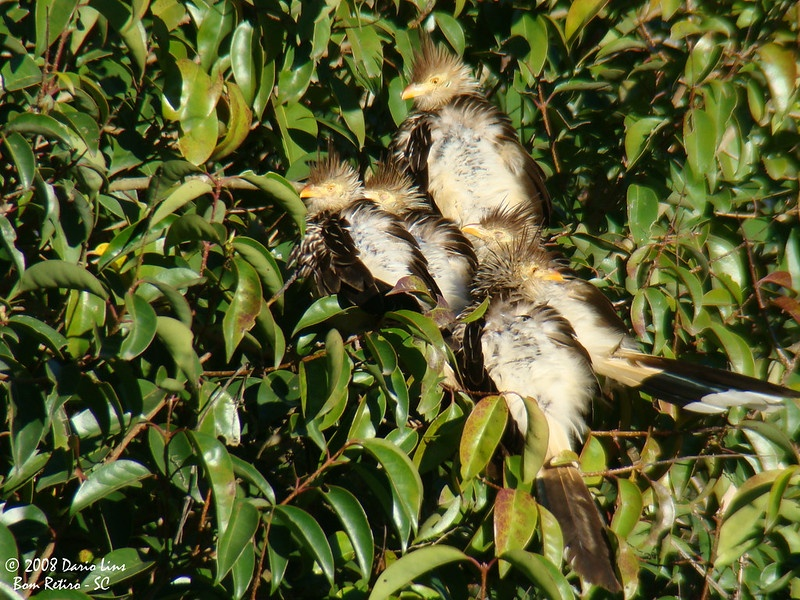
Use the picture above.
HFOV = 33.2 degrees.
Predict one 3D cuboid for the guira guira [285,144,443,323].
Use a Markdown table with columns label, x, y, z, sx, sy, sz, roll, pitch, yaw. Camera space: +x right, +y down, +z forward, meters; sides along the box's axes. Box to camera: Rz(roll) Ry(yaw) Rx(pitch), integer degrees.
| label | x | y | z | sx | sy | sz | roll | pitch | yaw |
| --- | --- | --- | --- | --- | --- | --- | --- | --- | --- |
| guira guira | -0.046 | -0.184 | 4.496 | 0.594 | 0.450 | 0.458 | 17 | 34 | 17 |

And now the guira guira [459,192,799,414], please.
| label | x | y | z | sx | sy | sz | roll | pitch | yaw |
| --- | --- | --- | --- | --- | --- | --- | --- | --- | --- |
| guira guira | 0.757 | 0.035 | 4.250 | 0.831 | 0.483 | 0.213 | 29 | 30 | 22 |

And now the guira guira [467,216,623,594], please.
| label | x | y | z | sx | sy | sz | roll | pitch | yaw |
| --- | --- | --- | --- | --- | --- | --- | --- | --- | --- |
| guira guira | 0.568 | 0.291 | 4.225 | 0.296 | 0.569 | 1.052 | -19 | 56 | 2 |

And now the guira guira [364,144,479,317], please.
| label | x | y | z | sx | sy | sz | roll | pitch | yaw |
| --- | --- | --- | --- | --- | --- | --- | --- | --- | --- |
| guira guira | 0.076 | -0.245 | 4.726 | 0.230 | 0.328 | 0.751 | -20 | 58 | -14 |
